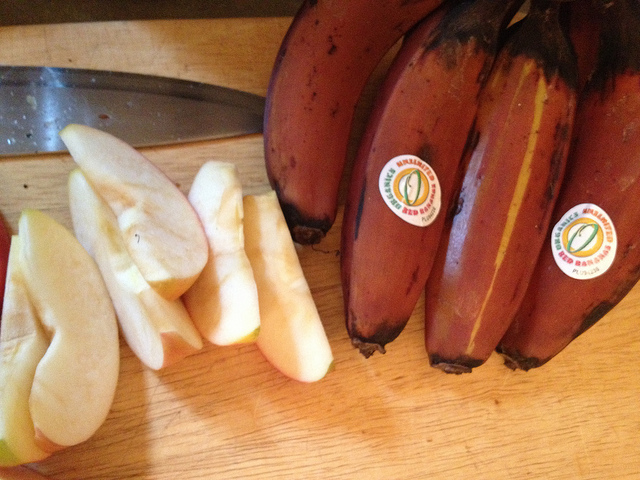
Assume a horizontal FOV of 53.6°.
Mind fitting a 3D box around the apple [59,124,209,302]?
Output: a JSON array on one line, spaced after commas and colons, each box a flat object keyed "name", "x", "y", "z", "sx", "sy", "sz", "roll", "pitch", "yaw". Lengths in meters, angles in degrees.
[{"name": "apple", "x": -0.283, "y": -0.048, "z": 1.030, "sx": 0.157, "sy": 0.128, "sz": 0.351, "roll": -24, "pitch": 71, "yaw": -36}]

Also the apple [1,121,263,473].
[{"name": "apple", "x": -0.320, "y": 0.059, "z": 0.995, "sx": 0.431, "sy": 0.368, "sz": 0.305, "roll": -15, "pitch": 46, "yaw": -18}]

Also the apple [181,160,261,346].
[{"name": "apple", "x": -0.161, "y": 0.027, "z": 1.050, "sx": 0.116, "sy": 0.111, "sz": 0.310, "roll": -9, "pitch": 60, "yaw": -10}]
